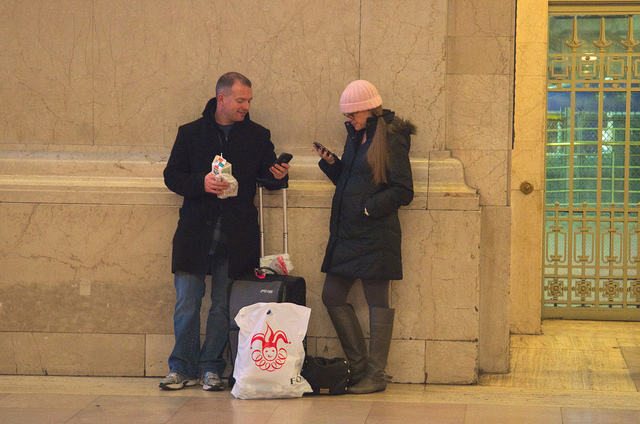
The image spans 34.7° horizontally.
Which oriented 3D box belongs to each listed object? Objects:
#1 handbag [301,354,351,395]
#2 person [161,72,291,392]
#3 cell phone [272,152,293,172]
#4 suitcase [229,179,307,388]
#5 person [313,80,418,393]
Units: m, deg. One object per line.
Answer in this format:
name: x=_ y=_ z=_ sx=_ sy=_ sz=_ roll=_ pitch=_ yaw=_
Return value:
handbag: x=0.068 y=1.476 z=9.404 sx=0.531 sy=0.376 sz=0.212 roll=-4 pitch=-4 yaw=22
person: x=-0.953 y=0.179 z=9.519 sx=0.968 sy=2.935 sz=0.476 roll=-1 pitch=0 yaw=11
cell phone: x=-0.345 y=-0.461 z=9.463 sx=0.117 sy=0.196 sz=0.021 roll=28 pitch=9 yaw=-16
suitcase: x=-0.500 y=0.716 z=9.616 sx=0.799 sy=1.833 sz=0.600 roll=1 pitch=-11 yaw=-3
person: x=0.448 y=0.226 z=9.341 sx=0.875 sy=2.778 sz=0.278 roll=-1 pitch=0 yaw=3
